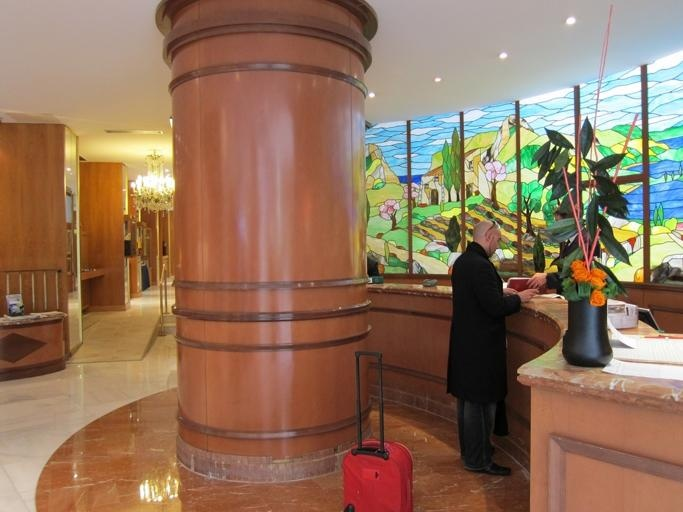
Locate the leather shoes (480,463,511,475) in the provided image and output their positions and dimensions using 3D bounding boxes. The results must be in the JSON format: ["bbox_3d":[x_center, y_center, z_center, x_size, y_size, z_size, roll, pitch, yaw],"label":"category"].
[{"bbox_3d":[1.229,1.706,4.239,0.237,0.099,0.087,-5,1,13],"label":"leather shoes"}]

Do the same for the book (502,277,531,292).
[{"bbox_3d":[1.799,0.291,5.409,0.196,0.160,0.202,2,5,20],"label":"book"}]

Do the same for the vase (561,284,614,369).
[{"bbox_3d":[1.262,0.379,2.732,0.280,0.376,0.289,0,6,29],"label":"vase"}]

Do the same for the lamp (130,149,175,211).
[{"bbox_3d":[-4.170,-1.673,11.813,0.747,1.036,0.757,0,2,-2],"label":"lamp"}]

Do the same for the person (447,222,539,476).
[{"bbox_3d":[1.140,0.730,4.249,0.575,2.002,0.314,-1,4,11],"label":"person"}]

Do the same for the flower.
[{"bbox_3d":[1.432,-0.248,3.163,0.469,1.026,1.575,0,4,26],"label":"flower"}]
